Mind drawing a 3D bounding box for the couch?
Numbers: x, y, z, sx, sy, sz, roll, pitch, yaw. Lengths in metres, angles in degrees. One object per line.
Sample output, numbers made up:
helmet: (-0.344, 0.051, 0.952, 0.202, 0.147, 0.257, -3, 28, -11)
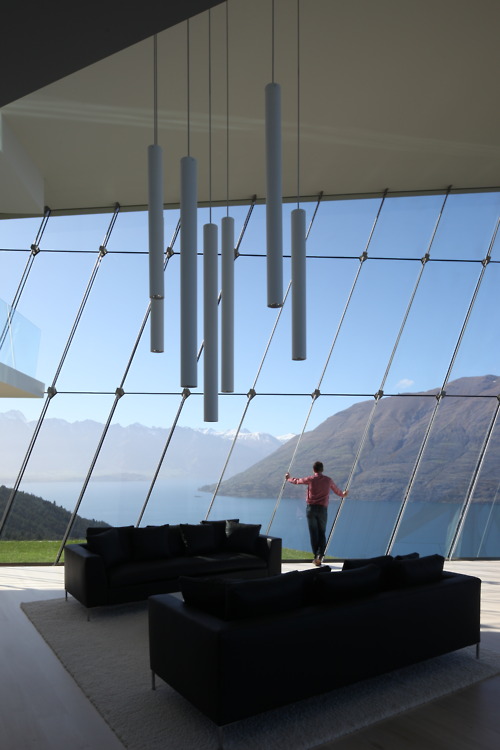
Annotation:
couch: (0.338, 1.910, 6.265, 3.545, 1.158, 4.146, -1, -3, -29)

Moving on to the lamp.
lamp: (-0.234, -1.495, 5.549, 1.318, 3.753, 2.788, -2, -3, -4)
